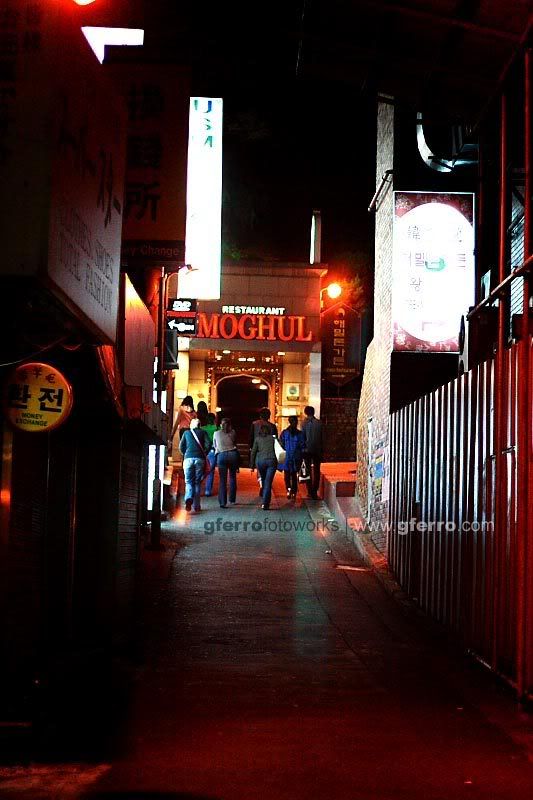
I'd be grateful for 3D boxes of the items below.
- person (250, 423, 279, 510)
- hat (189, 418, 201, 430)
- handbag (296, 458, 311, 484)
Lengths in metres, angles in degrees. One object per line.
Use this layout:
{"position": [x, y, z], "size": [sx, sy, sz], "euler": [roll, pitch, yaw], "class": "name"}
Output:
{"position": [-0.080, 1.392, 14.596], "size": [0.550, 1.993, 0.884], "euler": [0, -8, 0], "class": "person"}
{"position": [-1.517, 0.494, 13.692], "size": [0.146, 0.225, 0.213], "euler": [6, -15, 26], "class": "hat"}
{"position": [0.851, 1.608, 15.166], "size": [0.248, 0.530, 0.592], "euler": [-1, -8, 9], "class": "handbag"}
